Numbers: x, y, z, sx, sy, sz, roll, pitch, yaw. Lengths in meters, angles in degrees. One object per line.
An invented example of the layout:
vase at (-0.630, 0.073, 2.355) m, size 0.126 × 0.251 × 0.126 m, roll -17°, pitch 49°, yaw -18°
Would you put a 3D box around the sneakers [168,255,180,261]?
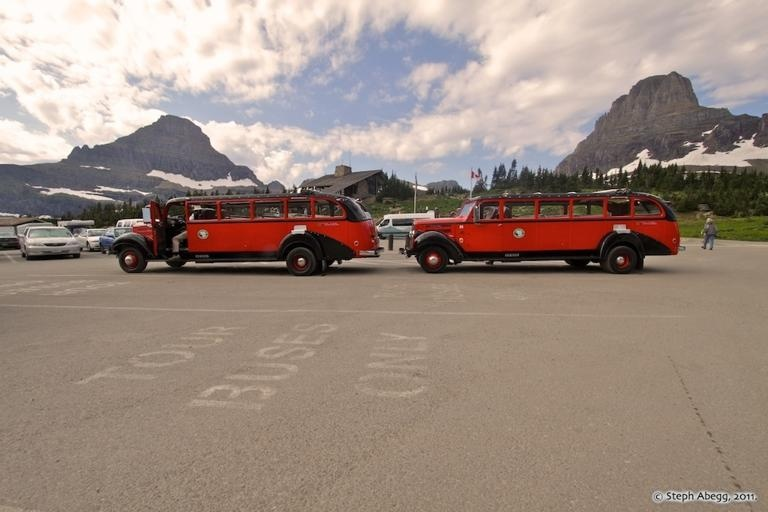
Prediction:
sneakers at (-8.137, 0.078, 17.724) m, size 0.485 × 0.199 × 0.168 m, roll 4°, pitch 4°, yaw 27°
